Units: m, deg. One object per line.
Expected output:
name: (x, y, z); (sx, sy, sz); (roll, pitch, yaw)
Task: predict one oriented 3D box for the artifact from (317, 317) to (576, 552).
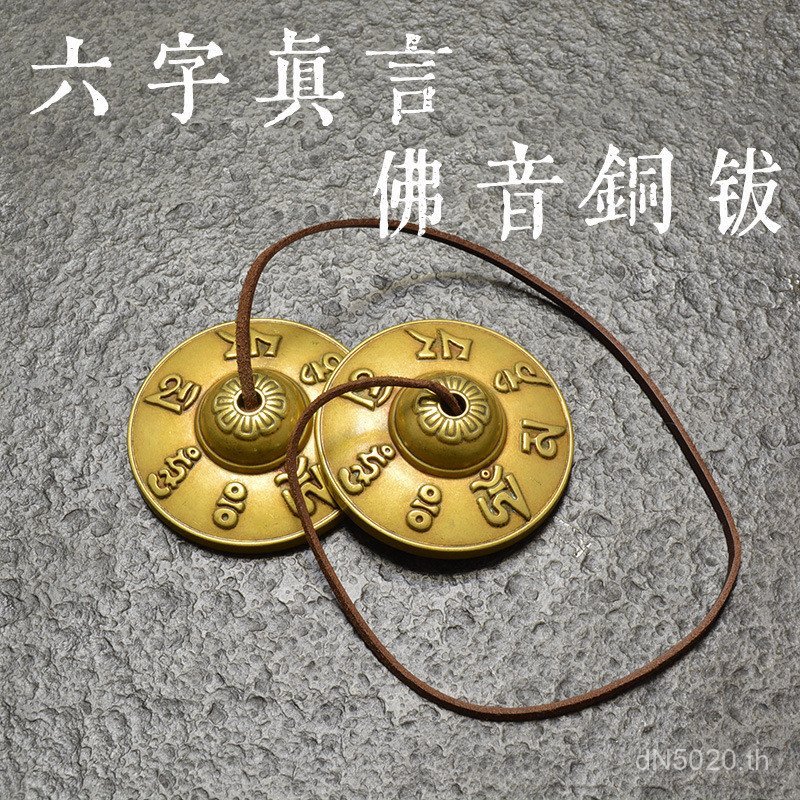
artifact: (0.047, 0.038, 1.322); (0.277, 0.097, 0.249); (4, 86, 0)
